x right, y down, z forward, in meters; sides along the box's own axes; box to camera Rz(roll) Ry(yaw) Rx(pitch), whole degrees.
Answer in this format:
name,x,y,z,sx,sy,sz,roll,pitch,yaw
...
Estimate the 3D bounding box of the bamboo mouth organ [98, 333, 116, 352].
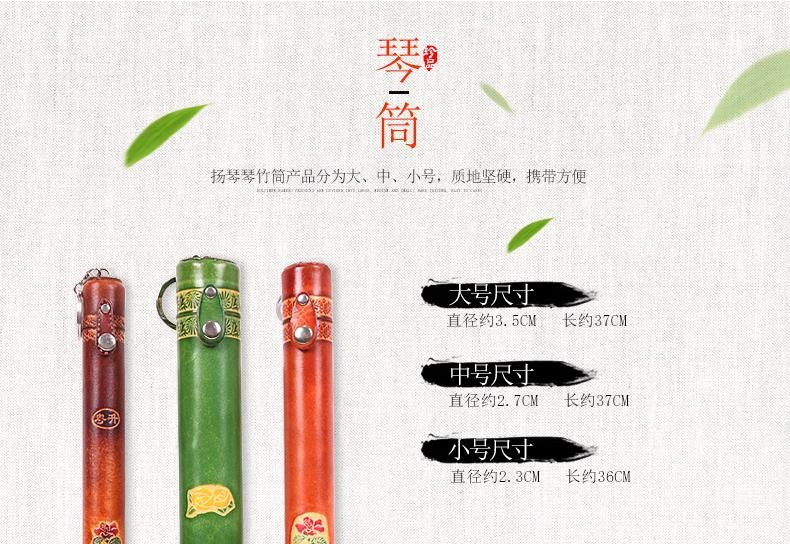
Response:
name,x,y,z,sx,sy,sz,roll,pitch,yaw
bamboo mouth organ,-1.329,0.322,4.540,0.085,0.086,0.031,1,-1,-28
